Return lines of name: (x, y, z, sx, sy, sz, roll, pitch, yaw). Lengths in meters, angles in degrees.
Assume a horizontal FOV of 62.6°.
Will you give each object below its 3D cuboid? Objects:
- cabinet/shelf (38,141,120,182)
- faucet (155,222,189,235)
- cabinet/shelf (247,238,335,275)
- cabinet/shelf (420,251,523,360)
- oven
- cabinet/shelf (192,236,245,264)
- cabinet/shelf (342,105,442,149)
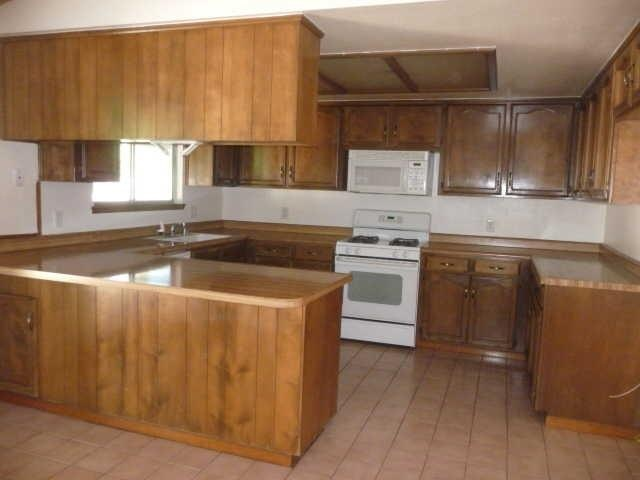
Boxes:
cabinet/shelf: (-1.933, -0.597, 4.312, 0.655, 0.330, 0.399, 2, 2, -8)
faucet: (-1.491, -0.108, 5.345, 0.192, 0.070, 0.192, 5, 8, 28)
cabinet/shelf: (-0.283, 0.312, 5.661, 0.927, 0.482, 0.318, 2, 3, 17)
cabinet/shelf: (1.504, 0.606, 5.067, 1.028, 0.906, 0.412, 3, 5, 20)
oven: (0.722, 0.578, 5.467, 1.008, 0.959, 0.743, 2, -2, 43)
cabinet/shelf: (-0.984, 0.116, 5.366, 0.238, 0.260, 0.431, 2, 7, 24)
cabinet/shelf: (0.808, -1.192, 5.619, 1.085, 0.461, 0.335, 5, 17, 18)
